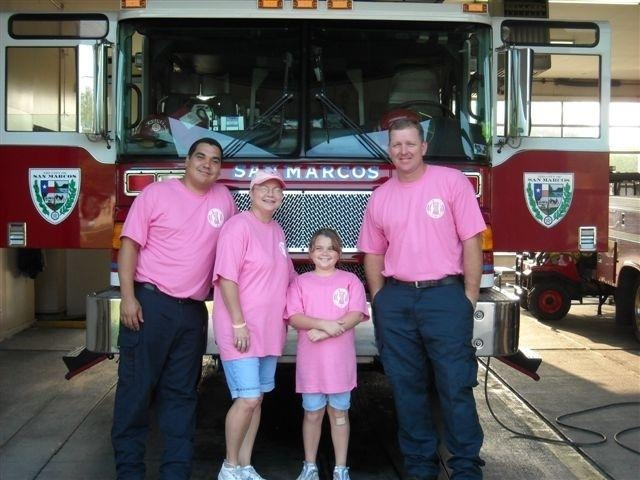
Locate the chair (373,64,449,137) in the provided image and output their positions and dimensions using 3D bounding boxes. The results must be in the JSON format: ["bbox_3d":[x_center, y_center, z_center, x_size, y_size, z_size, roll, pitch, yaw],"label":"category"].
[{"bbox_3d":[0.757,-1.235,5.265,0.541,0.671,0.634,0,18,4],"label":"chair"}]

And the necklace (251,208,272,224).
[{"bbox_3d":[-0.413,-0.166,4.367,0.098,0.114,0.045,-6,19,-5],"label":"necklace"}]
